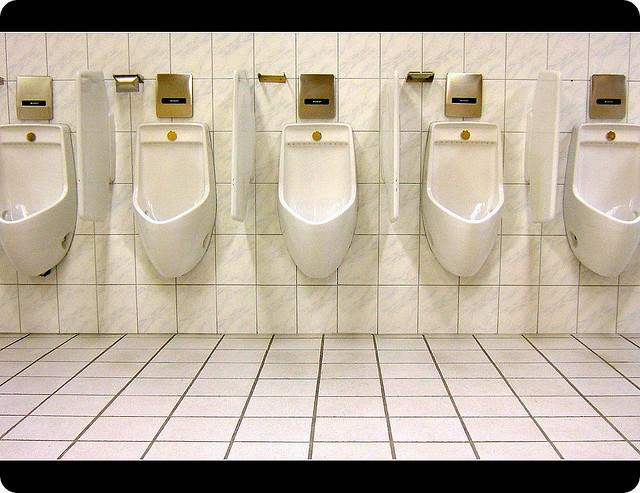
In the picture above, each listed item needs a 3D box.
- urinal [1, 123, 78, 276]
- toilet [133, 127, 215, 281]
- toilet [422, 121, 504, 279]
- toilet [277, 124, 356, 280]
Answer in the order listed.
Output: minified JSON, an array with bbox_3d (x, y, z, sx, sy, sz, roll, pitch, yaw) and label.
[{"bbox_3d":[-1.797,-0.329,3.627,0.464,0.970,0.515,2,18,-12],"label":"urinal"},{"bbox_3d":[-0.922,-0.225,3.554,0.489,1.002,0.425,-5,20,-14],"label":"toilet"},{"bbox_3d":[0.894,-0.265,3.554,0.519,0.990,0.506,6,20,18],"label":"toilet"},{"bbox_3d":[-0.013,-0.272,3.623,0.539,0.927,0.592,0,-5,1],"label":"toilet"}]
